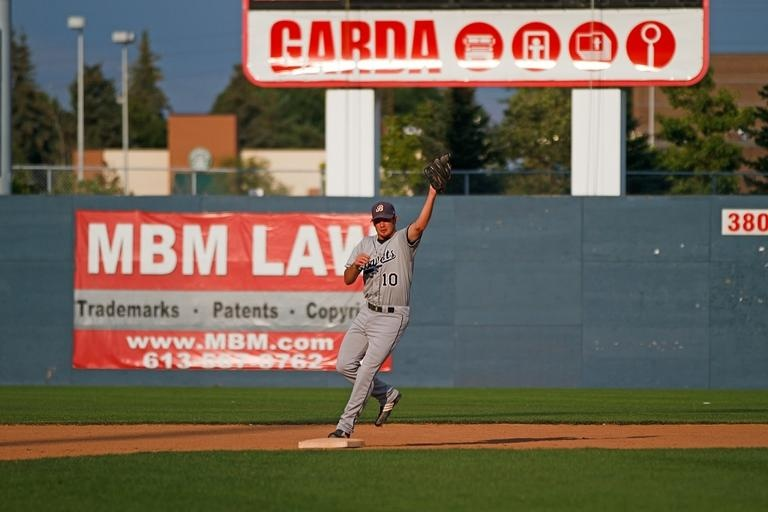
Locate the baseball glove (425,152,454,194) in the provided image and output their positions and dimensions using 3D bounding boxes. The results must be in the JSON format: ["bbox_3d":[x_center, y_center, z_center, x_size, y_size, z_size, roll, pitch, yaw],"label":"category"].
[{"bbox_3d":[0.965,-1.500,36.584,0.487,0.656,0.251,31,-2,-11],"label":"baseball glove"}]

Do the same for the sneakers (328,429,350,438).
[{"bbox_3d":[-0.773,3.178,36.598,0.317,0.147,0.171,8,-4,0],"label":"sneakers"}]

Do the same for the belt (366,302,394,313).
[{"bbox_3d":[-0.028,0.911,36.433,0.483,0.156,0.117,1,2,22],"label":"belt"}]
